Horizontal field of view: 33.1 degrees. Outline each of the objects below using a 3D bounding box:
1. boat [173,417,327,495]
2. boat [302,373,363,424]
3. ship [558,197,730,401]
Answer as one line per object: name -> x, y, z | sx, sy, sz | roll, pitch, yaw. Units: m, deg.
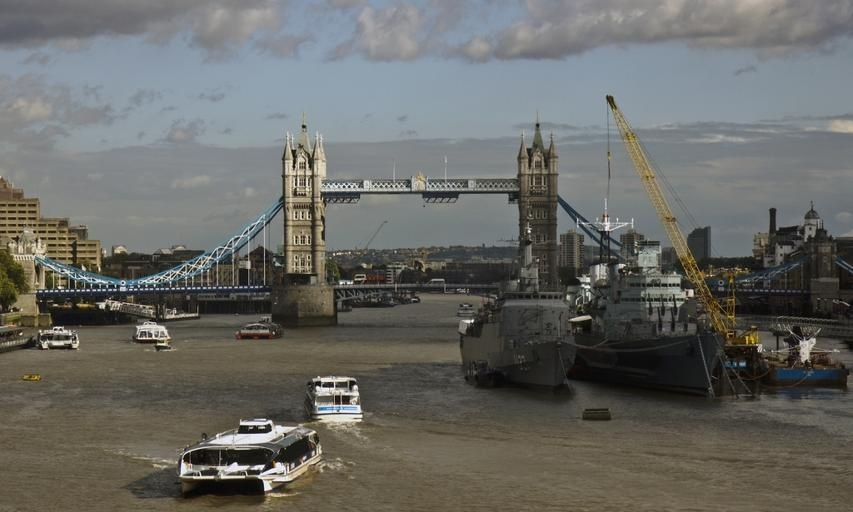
boat -> -13.181, 14.803, 108.365 | 9.185, 3.947, 13.209 | 0, 2, 12
boat -> -10.555, 11.629, 118.610 | 5.519, 3.231, 10.938 | 1, 2, -4
ship -> 20.446, 5.397, 135.264 | 12.301, 16.098, 24.034 | -1, 0, 3
